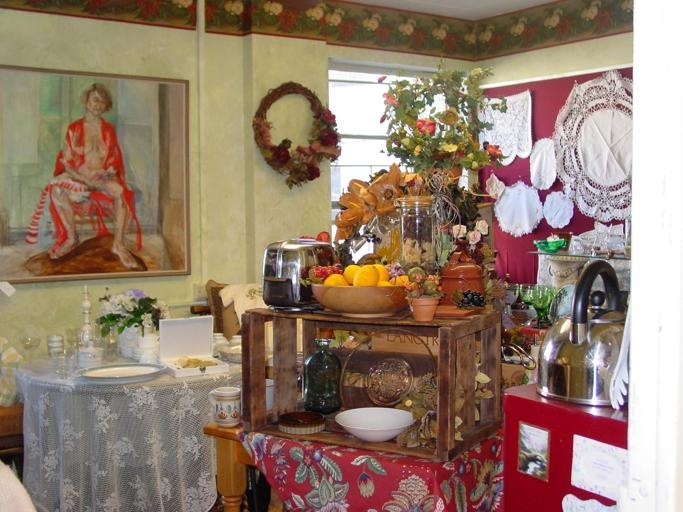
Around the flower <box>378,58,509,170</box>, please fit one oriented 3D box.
[{"bbox_3d":[0.364,-0.439,2.247,0.374,0.487,0.319,-3,1,-35],"label":"flower"}]

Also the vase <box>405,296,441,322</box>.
[{"bbox_3d":[0.253,0.158,1.827,0.083,0.071,0.129,0,2,8],"label":"vase"}]

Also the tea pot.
[{"bbox_3d":[0.633,0.165,1.465,0.208,0.350,0.323,10,7,40],"label":"tea pot"}]

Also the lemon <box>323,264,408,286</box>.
[{"bbox_3d":[0.071,0.061,1.877,0.280,0.066,0.147,0,1,6],"label":"lemon"}]

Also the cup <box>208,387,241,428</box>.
[{"bbox_3d":[-0.454,0.571,2.264,0.169,0.135,0.113,0,0,25],"label":"cup"}]

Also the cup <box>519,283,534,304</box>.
[{"bbox_3d":[0.976,0.194,3.063,0.081,0.099,0.081,-1,3,0],"label":"cup"}]

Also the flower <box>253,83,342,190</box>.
[{"bbox_3d":[-0.434,-1.346,5.554,0.877,0.965,0.341,0,-39,-5],"label":"flower"}]

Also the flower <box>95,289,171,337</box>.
[{"bbox_3d":[-1.239,0.313,3.288,0.239,0.168,0.225,-14,-3,9],"label":"flower"}]

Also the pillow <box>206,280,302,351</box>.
[{"bbox_3d":[-0.949,0.531,4.999,0.396,0.595,0.418,2,-8,22],"label":"pillow"}]

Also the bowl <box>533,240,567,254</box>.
[{"bbox_3d":[1.620,-0.085,4.663,0.189,0.089,0.295,-1,2,-19],"label":"bowl"}]

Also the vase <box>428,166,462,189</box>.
[{"bbox_3d":[0.373,-0.288,2.157,0.108,0.046,0.099,-6,11,-23],"label":"vase"}]

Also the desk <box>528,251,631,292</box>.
[{"bbox_3d":[2.148,0.136,5.419,1.194,0.382,0.437,6,-8,-28],"label":"desk"}]

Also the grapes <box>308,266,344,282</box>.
[{"bbox_3d":[-0.056,0.049,1.980,0.072,0.035,0.060,-6,8,-22],"label":"grapes"}]

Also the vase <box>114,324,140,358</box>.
[{"bbox_3d":[-1.185,0.467,3.293,0.165,0.173,0.154,1,1,-5],"label":"vase"}]

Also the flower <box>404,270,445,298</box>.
[{"bbox_3d":[0.252,0.085,1.874,0.073,0.052,0.101,5,3,1],"label":"flower"}]
